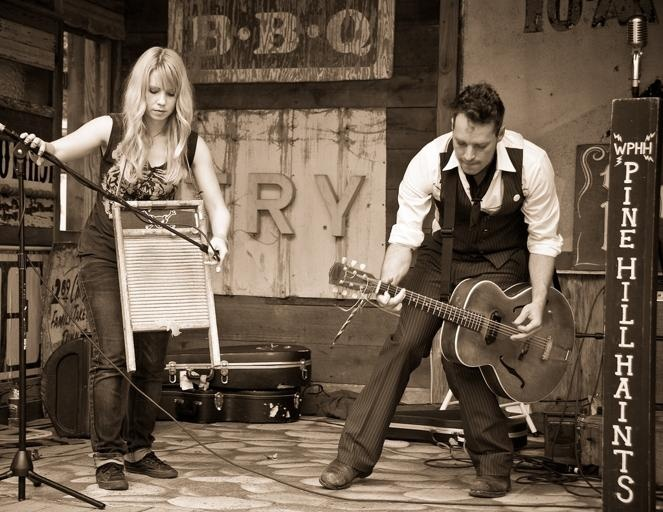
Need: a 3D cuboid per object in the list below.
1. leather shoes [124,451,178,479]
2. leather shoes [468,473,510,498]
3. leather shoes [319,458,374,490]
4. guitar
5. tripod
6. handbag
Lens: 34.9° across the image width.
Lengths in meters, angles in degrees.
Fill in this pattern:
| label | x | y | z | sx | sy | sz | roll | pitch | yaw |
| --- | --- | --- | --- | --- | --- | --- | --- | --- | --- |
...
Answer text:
| label | x | y | z | sx | sy | sz | roll | pitch | yaw |
| --- | --- | --- | --- | --- | --- | --- | --- | --- | --- |
| leather shoes | -1.100 | 1.289 | 6.583 | 0.368 | 0.163 | 0.138 | 5 | -1 | 5 |
| leather shoes | 0.952 | 1.378 | 6.328 | 0.251 | 0.109 | 0.103 | 10 | -15 | -33 |
| leather shoes | 0.125 | 1.335 | 6.432 | 0.137 | 0.183 | 0.375 | 9 | -4 | 42 |
| guitar | 0.738 | 0.400 | 6.620 | 1.506 | 0.749 | 0.214 | 20 | -1 | -13 |
| tripod | -1.358 | 0.341 | 6.126 | 1.153 | 2.182 | 1.127 | 1 | -2 | -8 |
| handbag | -0.736 | 1.022 | 8.195 | 0.822 | 0.386 | 0.670 | -1 | -4 | 15 |
